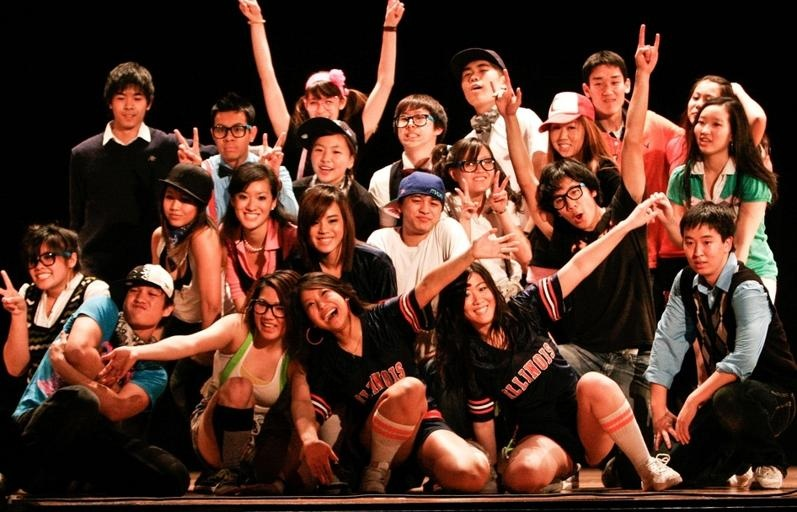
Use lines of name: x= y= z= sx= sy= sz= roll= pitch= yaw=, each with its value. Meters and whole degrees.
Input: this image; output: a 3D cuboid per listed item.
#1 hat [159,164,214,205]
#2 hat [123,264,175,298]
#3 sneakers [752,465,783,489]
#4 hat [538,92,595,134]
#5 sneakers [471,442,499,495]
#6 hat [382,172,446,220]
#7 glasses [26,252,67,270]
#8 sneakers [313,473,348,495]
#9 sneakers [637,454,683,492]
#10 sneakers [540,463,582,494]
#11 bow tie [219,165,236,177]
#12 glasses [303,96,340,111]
hat: x=-1.133 y=-0.379 z=3.577 sx=0.200 sy=0.129 sz=0.260 roll=26 pitch=8 yaw=8
hat: x=-1.302 y=0.139 z=3.454 sx=0.214 sy=0.173 sz=0.129 roll=1 pitch=7 yaw=17
sneakers: x=1.765 y=1.046 z=3.119 sx=0.136 sy=0.107 sz=0.082 roll=1 pitch=7 yaw=17
hat: x=0.958 y=-0.820 z=3.783 sx=0.320 sy=0.153 sz=0.195 roll=-5 pitch=2 yaw=-32
sneakers: x=0.416 y=1.003 z=3.162 sx=0.133 sy=0.208 sz=0.249 roll=-1 pitch=7 yaw=-4
hat: x=0.070 y=-0.323 z=3.597 sx=0.207 sy=0.272 sz=0.371 roll=-6 pitch=8 yaw=-33
glasses: x=-1.868 y=0.020 z=3.488 sx=0.185 sy=0.077 sz=0.024 roll=-2 pitch=7 yaw=-10
sneakers: x=-0.316 y=1.097 z=3.153 sx=0.145 sy=0.107 sz=0.054 roll=-15 pitch=34 yaw=19
sneakers: x=1.229 y=1.021 z=3.069 sx=0.105 sy=0.118 sz=0.268 roll=0 pitch=-15 yaw=-29
sneakers: x=0.793 y=1.090 z=3.189 sx=0.175 sy=0.113 sz=0.133 roll=-2 pitch=2 yaw=-1
bow tie: x=-1.003 y=-0.485 z=3.846 sx=0.088 sy=0.082 sz=0.028 roll=-26 pitch=6 yaw=4
glasses: x=-0.450 y=-0.899 z=3.912 sx=0.119 sy=0.048 sz=0.136 roll=-1 pitch=4 yaw=4
